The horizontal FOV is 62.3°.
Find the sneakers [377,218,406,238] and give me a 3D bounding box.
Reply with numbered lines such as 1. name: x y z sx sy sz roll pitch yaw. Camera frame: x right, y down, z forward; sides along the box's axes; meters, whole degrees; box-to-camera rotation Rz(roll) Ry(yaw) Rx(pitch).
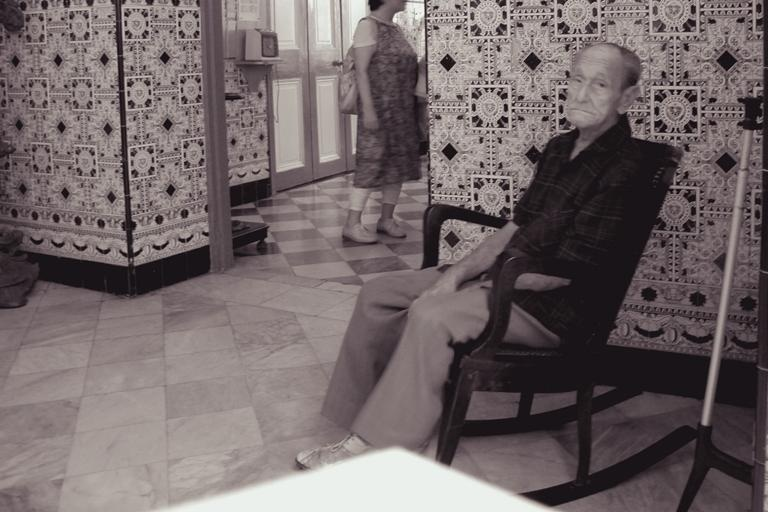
1. sneakers: 0.073 -0.232 5.343 0.272 0.104 0.125 12 21 41

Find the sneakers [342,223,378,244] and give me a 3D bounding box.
1. sneakers: -0.192 -0.167 5.151 0.255 0.104 0.150 10 26 26

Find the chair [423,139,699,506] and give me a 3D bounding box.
1. chair: 0.700 0.262 2.971 1.483 1.494 0.865 -1 10 -21
